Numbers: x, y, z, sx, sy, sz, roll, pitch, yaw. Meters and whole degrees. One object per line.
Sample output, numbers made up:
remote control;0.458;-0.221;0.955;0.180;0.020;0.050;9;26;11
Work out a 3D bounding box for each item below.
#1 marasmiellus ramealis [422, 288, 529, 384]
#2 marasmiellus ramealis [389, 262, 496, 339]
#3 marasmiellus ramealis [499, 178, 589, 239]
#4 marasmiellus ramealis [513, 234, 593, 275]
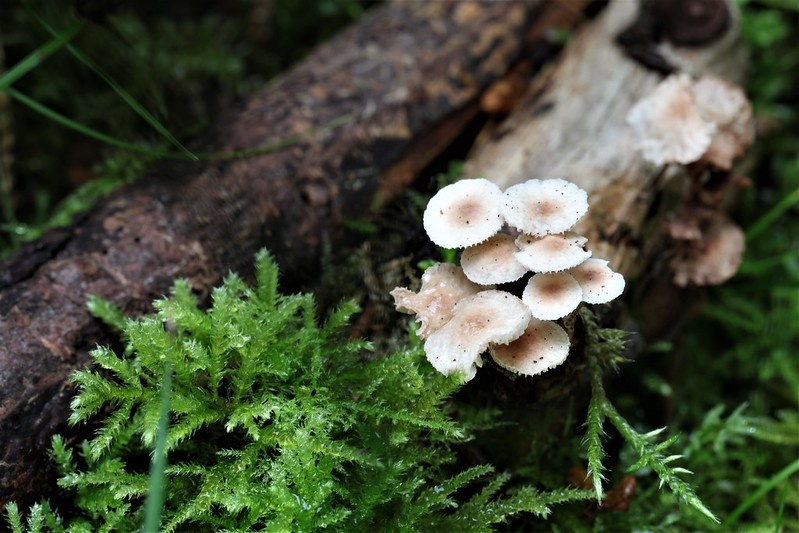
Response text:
marasmiellus ramealis;0.362;0.300;3.781;0.524;0.147;0.310;-41;79;-3
marasmiellus ramealis;0.190;0.141;3.932;0.365;0.129;0.390;-9;64;13
marasmiellus ramealis;0.703;-0.294;3.852;0.409;0.121;0.296;-2;79;4
marasmiellus ramealis;0.727;-0.063;3.788;0.233;0.063;0.238;1;57;0
